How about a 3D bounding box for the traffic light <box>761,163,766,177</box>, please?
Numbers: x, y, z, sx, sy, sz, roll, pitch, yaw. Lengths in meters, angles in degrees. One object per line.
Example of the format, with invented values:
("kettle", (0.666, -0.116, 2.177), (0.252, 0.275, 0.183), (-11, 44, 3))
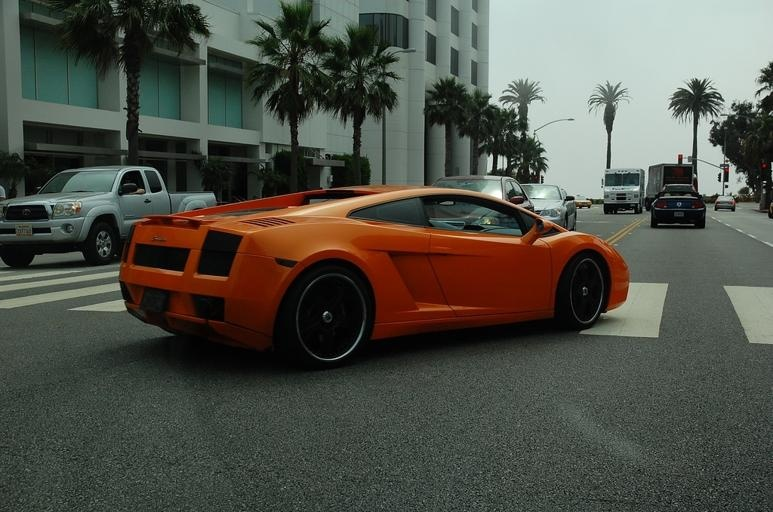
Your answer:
("traffic light", (40.683, -9.264, 63.408), (0.604, 1.355, 1.939), (4, 7, 31))
